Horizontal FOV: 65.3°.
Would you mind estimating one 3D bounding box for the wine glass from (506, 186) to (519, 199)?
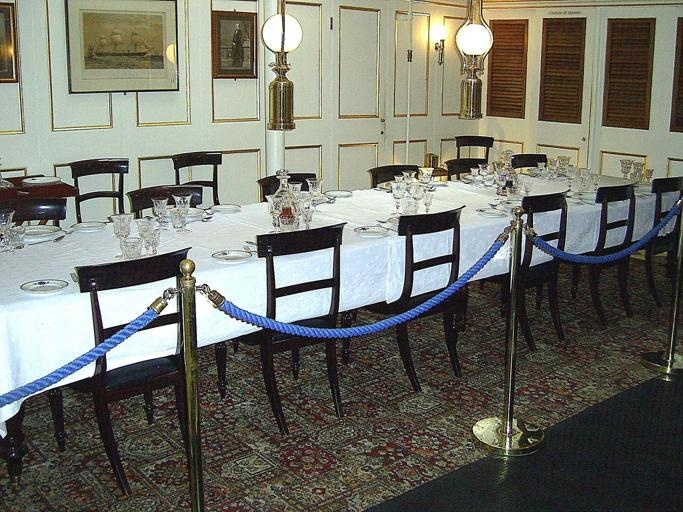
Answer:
[{"bbox_3d":[1.319,-0.482,4.135,0.097,0.087,0.099,-12,14,-39],"label":"wine glass"}]

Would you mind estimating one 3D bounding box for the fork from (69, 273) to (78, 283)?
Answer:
[{"bbox_3d":[-1.253,0.094,2.479,0.022,0.031,0.198,-8,15,-30],"label":"fork"}]

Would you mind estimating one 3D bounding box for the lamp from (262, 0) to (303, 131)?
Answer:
[{"bbox_3d":[-0.317,-0.987,2.788,0.209,0.631,0.290,-1,15,-5],"label":"lamp"}]

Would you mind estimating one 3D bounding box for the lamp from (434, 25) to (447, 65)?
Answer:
[{"bbox_3d":[1.397,-2.986,7.568,0.202,0.537,0.065,-11,19,-36],"label":"lamp"}]
